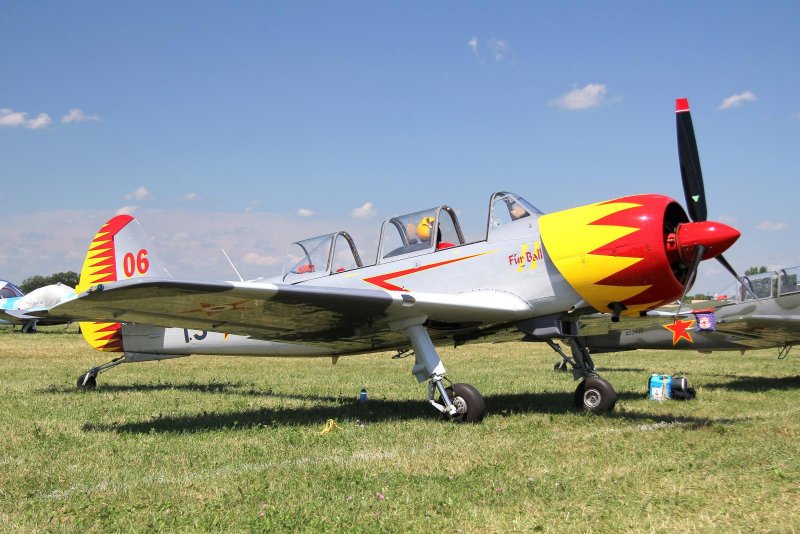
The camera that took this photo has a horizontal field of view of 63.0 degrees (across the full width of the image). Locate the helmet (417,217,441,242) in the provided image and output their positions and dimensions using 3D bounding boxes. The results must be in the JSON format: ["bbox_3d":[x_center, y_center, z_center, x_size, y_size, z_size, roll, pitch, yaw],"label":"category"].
[{"bbox_3d":[0.435,-0.691,11.489,0.477,0.425,0.434,11,-30,3],"label":"helmet"}]

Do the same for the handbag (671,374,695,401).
[{"bbox_3d":[5.476,2.351,12.563,0.547,0.373,0.225,-7,-19,32],"label":"handbag"}]
